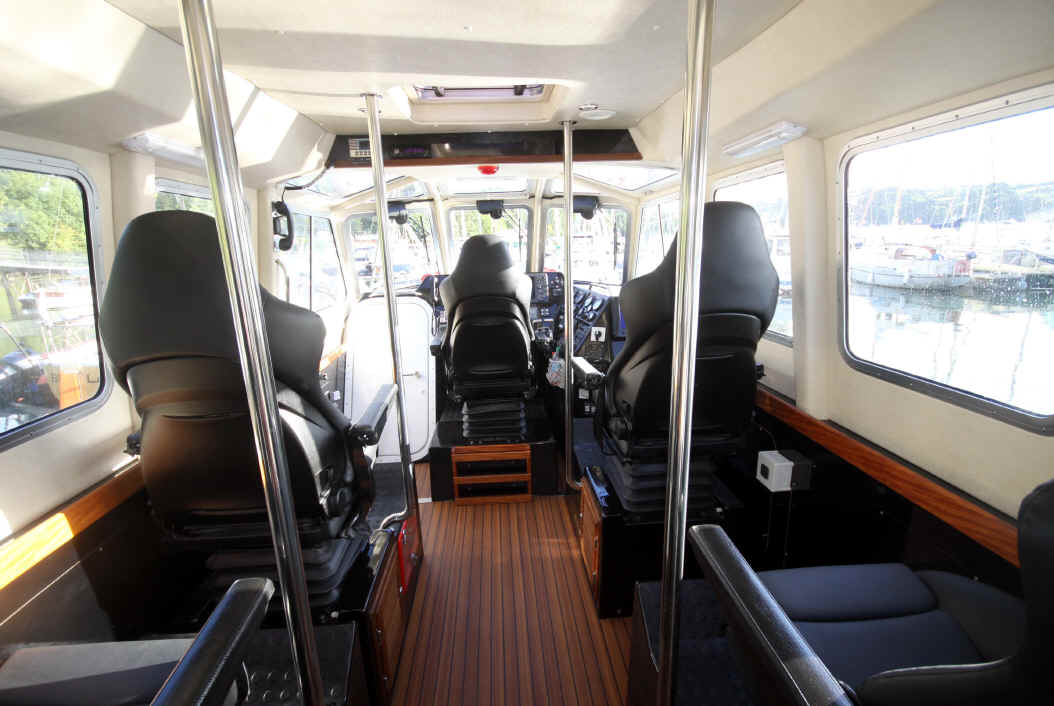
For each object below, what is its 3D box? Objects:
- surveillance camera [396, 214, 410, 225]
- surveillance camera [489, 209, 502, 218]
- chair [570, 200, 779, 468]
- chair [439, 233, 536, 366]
[{"bbox_3d":[-1.195,-1.311,6.318,0.077,0.104,0.090,-3,49,4],"label":"surveillance camera"},{"bbox_3d":[-0.295,-1.377,6.460,0.127,0.087,0.162,1,11,3],"label":"surveillance camera"},{"bbox_3d":[0.857,-0.058,3.511,0.900,1.468,0.560,2,11,10],"label":"chair"},{"bbox_3d":[-0.171,-0.437,4.851,0.615,0.818,0.761,0,-7,5],"label":"chair"}]
